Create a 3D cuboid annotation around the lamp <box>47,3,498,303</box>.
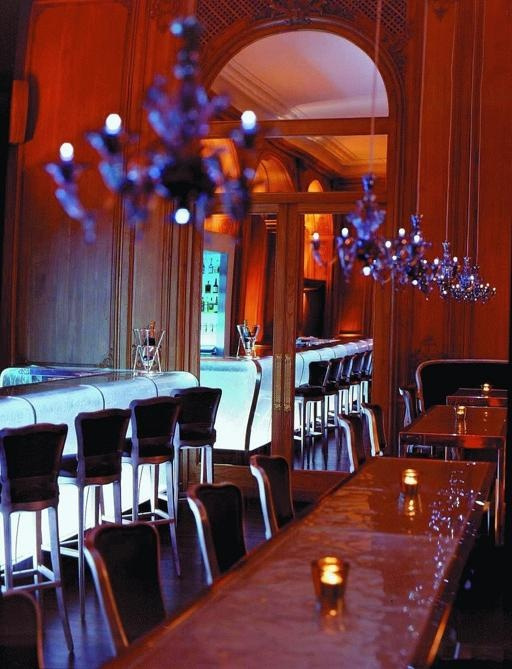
[{"bbox_3d":[-0.171,-1.792,6.478,4.097,1.909,1.217,3,1,31],"label":"lamp"}]
